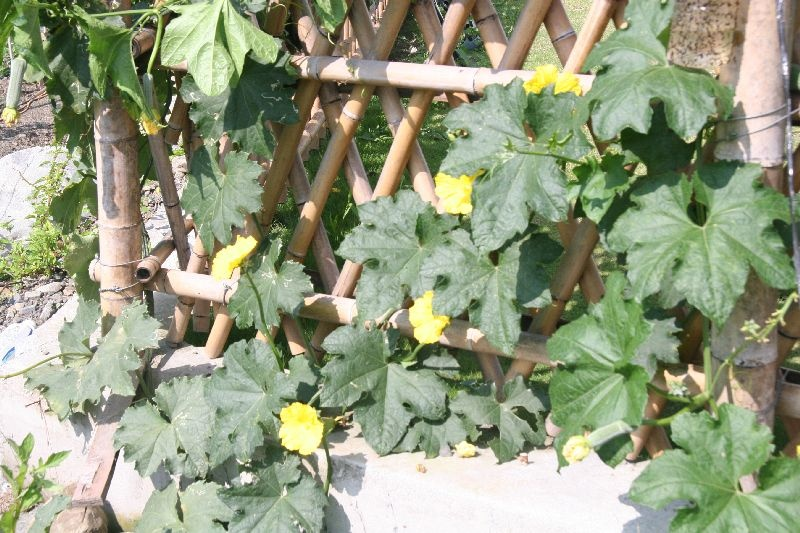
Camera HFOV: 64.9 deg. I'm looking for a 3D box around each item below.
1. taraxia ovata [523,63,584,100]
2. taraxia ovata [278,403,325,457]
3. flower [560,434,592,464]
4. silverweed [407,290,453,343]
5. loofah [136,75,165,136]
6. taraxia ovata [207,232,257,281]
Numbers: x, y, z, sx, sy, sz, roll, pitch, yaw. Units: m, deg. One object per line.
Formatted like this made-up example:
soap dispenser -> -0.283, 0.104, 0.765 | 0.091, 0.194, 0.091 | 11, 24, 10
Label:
taraxia ovata -> 0.435, -0.551, 1.811 | 0.155, 0.100, 0.185 | 16, 29, 36
taraxia ovata -> -0.312, 0.478, 1.924 | 0.142, 0.170, 0.060 | -7, -11, -4
flower -> 0.472, 0.497, 1.727 | 0.088, 0.072, 0.036 | -29, 1, 2
silverweed -> 0.097, 0.153, 2.005 | 0.098, 0.118, 0.172 | 22, 35, 34
loofah -> -0.839, -0.540, 2.083 | 0.060, 0.182, 0.078 | -2, 14, -19
taraxia ovata -> -0.540, -0.024, 2.002 | 0.152, 0.073, 0.152 | -44, 4, -41
